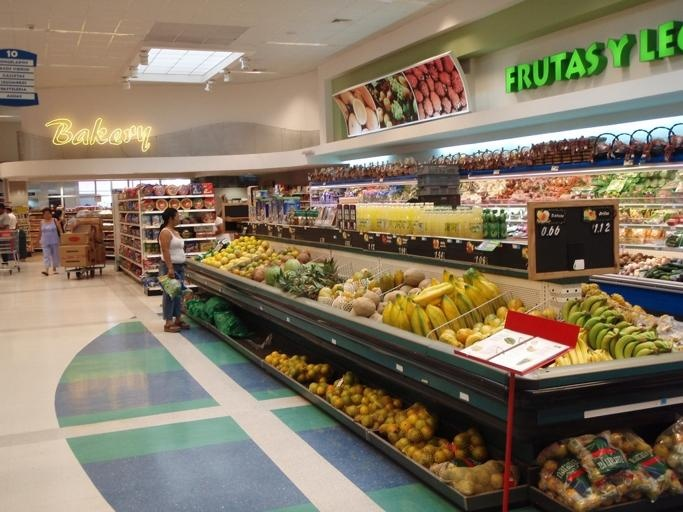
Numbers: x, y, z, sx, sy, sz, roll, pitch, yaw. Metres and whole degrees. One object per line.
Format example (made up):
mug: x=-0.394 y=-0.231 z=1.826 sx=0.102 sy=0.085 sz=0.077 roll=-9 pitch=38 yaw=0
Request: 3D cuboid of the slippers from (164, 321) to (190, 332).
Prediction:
slippers: x=-2.719 y=1.144 z=6.945 sx=0.322 sy=0.119 sz=0.176 roll=-1 pitch=1 yaw=22

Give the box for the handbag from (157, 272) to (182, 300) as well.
handbag: x=-2.798 y=0.458 z=6.768 sx=0.401 sy=0.321 sz=0.127 roll=11 pitch=24 yaw=37

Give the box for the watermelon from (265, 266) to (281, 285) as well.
watermelon: x=-0.837 y=0.249 z=5.249 sx=0.223 sy=0.251 sz=0.214 roll=1 pitch=-14 yaw=6
